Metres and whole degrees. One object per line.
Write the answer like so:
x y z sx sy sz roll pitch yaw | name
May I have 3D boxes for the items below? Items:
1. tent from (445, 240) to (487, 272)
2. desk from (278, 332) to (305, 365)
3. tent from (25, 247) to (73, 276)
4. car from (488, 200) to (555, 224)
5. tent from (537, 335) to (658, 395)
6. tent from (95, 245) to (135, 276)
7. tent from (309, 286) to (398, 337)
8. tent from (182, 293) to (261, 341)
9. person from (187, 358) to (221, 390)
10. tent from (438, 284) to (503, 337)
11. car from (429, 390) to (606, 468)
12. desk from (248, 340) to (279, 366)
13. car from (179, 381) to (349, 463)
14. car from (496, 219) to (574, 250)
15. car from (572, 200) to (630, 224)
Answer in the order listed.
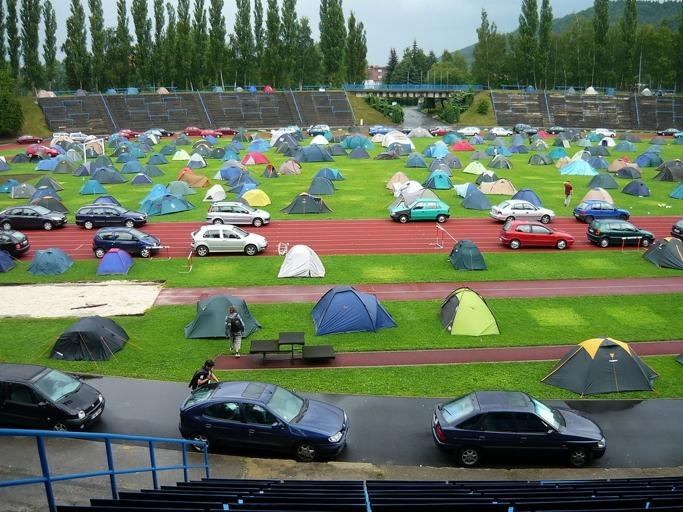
6.506 -0.028 33.183 1.390 0.726 1.986 -1 11 -7 | tent
-1.859 3.420 23.838 1.234 0.929 1.057 0 25 -1 | desk
-14.850 0.315 32.077 2.005 1.173 1.356 -10 14 -30 | tent
11.735 -2.865 41.143 4.098 1.077 1.618 -1 24 5 | car
9.036 3.846 22.045 3.264 1.688 1.071 -3 13 -2 | tent
-11.501 0.295 32.169 1.338 0.677 1.727 -1 15 -9 | tent
0.394 2.199 26.022 3.109 1.778 1.191 -4 13 -5 | tent
-4.877 2.459 25.602 2.442 0.901 2.103 -1 11 -2 | tent
-4.631 4.015 21.250 0.804 1.266 0.564 17 52 -19 | person
5.429 2.040 26.664 2.519 1.362 3.359 0 19 5 | tent
5.414 5.176 19.442 5.326 1.456 2.114 2 14 0 | car
-2.862 3.588 23.543 1.090 0.525 0.929 2 27 -2 | desk
-2.309 4.867 19.454 5.389 1.394 2.180 2 18 11 | car
11.186 -1.154 36.265 3.721 1.575 0.802 -2 14 2 | car
17.168 -2.930 41.403 3.129 1.009 1.560 -3 20 1 | car
